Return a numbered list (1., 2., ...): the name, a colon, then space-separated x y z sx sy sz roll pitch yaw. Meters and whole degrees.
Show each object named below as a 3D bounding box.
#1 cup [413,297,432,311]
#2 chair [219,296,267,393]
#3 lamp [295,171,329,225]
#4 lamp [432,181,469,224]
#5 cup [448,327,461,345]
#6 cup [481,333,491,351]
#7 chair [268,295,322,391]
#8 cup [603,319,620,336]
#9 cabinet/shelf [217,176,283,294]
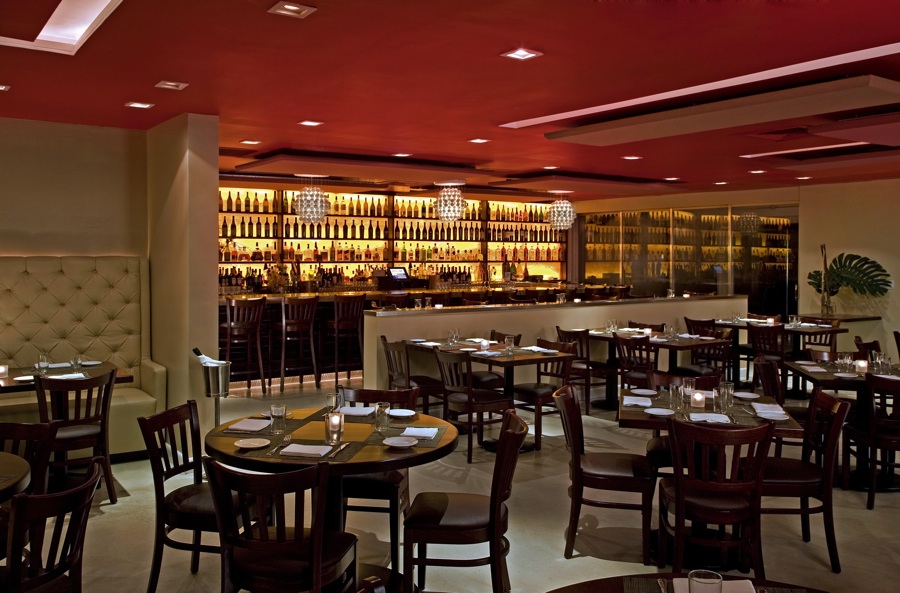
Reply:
1. cup: -0.412 0.100 9.691 0.198 0.137 0.193 0 3 0
2. chair: -2.863 0.667 9.257 0.653 1.354 0.694 1 2 45
3. lamp: -2.044 -1.389 9.725 0.455 0.510 0.250 -1 2 -19
4. lamp: 0.009 -1.535 10.708 0.661 0.782 0.645 -7 12 -33
5. cup: 0.084 0.479 7.886 0.158 0.234 0.148 2 7 0
6. cup: 0.431 0.544 8.010 0.108 0.100 0.185 -2 -12 5
7. chair: -2.198 0.644 9.639 0.602 1.352 0.666 -1 2 -15
8. cup: 2.190 0.411 9.056 0.240 0.256 0.240 1 -1 0
9. cabinet/shelf: -3.501 -1.140 11.703 1.100 1.626 0.529 -1 2 -16
